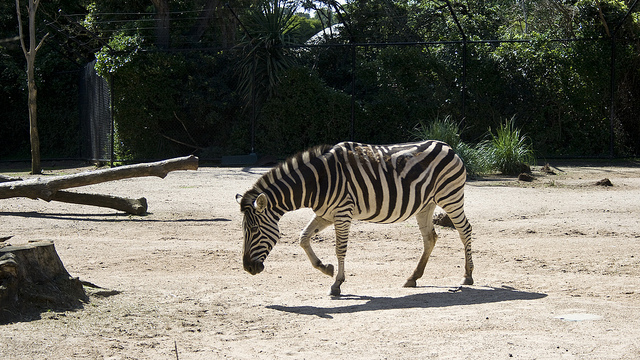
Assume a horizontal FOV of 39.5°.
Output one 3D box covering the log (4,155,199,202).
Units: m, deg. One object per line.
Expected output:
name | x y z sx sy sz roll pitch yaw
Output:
log | -7.454 -0.037 31.304 5.167 0.813 0.746 -12 -8 -12
